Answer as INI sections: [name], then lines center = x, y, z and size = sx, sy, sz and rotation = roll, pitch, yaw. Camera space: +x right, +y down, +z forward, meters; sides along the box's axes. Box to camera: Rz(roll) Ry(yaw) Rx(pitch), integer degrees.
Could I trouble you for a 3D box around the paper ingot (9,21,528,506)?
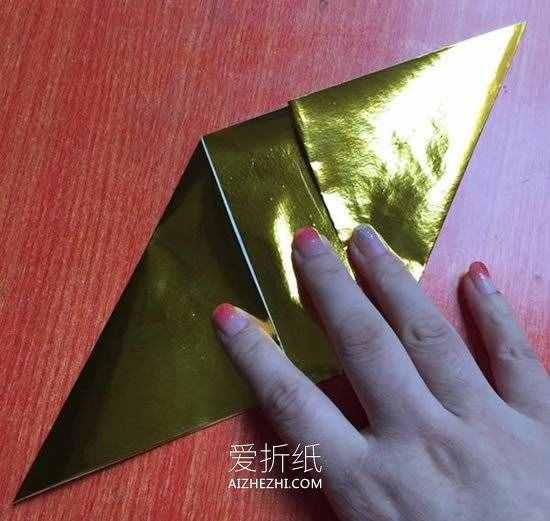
[paper ingot]
center = -0.008, -0.005, 0.791
size = 0.811, 0.364, 0.104
rotation = -31, 13, -12
